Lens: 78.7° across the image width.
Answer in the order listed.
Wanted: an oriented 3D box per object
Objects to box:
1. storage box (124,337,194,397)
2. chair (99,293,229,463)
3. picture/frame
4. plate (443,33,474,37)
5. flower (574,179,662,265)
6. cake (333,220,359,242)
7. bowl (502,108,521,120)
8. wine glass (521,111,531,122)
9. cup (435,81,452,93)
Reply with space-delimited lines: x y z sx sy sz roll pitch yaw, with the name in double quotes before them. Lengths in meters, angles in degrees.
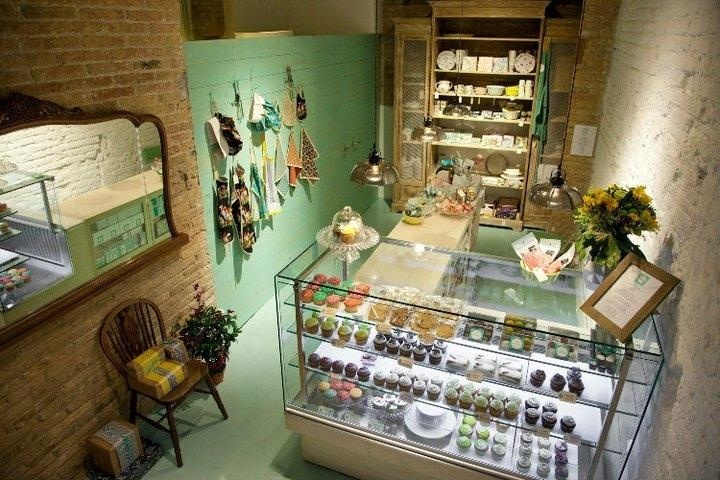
"storage box" -1.967 1.244 4.270 0.403 0.265 0.562 12 27 20
"chair" -1.959 1.335 4.400 0.966 1.353 0.986 22 27 36
"picture/frame" 1.903 0.399 3.092 0.149 0.643 0.491 37 13 -30
"plate" 1.669 -3.468 7.473 0.479 0.083 0.437 6 25 6
"flower" 2.033 -0.115 3.437 0.457 0.517 0.481 -18 39 -18
"cake" -0.117 -0.100 4.215 0.168 0.080 0.224 -1 24 -2
"bowl" 2.665 -2.214 7.733 0.247 0.128 0.207 13 37 22
"wine glass" 2.914 -2.159 7.689 0.217 0.078 0.225 0 57 6
"cup" 1.478 -2.748 7.813 0.305 0.209 0.216 -1 46 4
